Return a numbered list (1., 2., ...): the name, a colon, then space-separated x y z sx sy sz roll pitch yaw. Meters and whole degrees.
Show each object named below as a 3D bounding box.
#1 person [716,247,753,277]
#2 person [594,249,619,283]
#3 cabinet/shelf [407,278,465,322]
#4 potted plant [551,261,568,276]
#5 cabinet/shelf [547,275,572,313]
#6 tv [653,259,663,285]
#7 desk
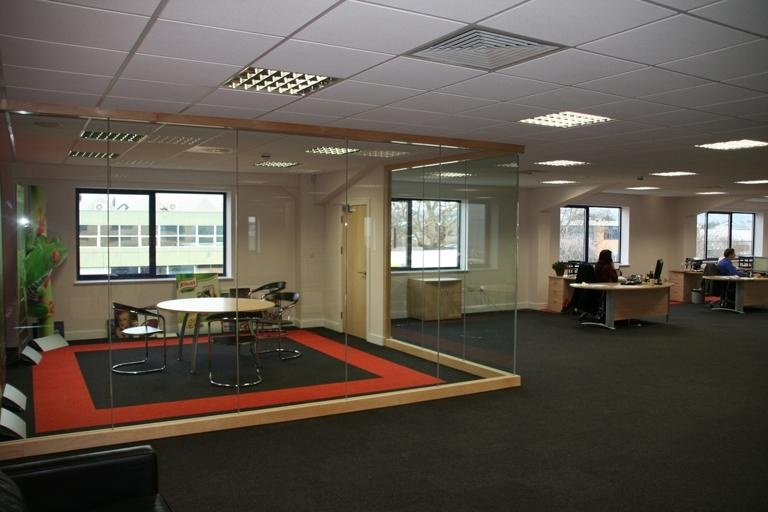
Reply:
1. person: 9.746 0.131 14.463 1.125 0.842 0.857 -3 5 -1
2. person: 5.376 0.224 12.527 0.606 0.776 0.618 -9 17 -36
3. cabinet/shelf: 0.692 0.594 7.305 0.731 0.512 0.397 3 -4 -39
4. potted plant: 4.712 0.305 13.910 0.388 0.334 0.365 -1 4 -13
5. cabinet/shelf: 4.591 0.961 13.651 0.635 0.941 0.432 3 6 27
6. tv: 6.936 0.376 13.139 0.282 0.706 0.635 0 -1 18
7. desk: 5.568 1.078 11.963 2.340 1.011 1.003 -3 7 -33
